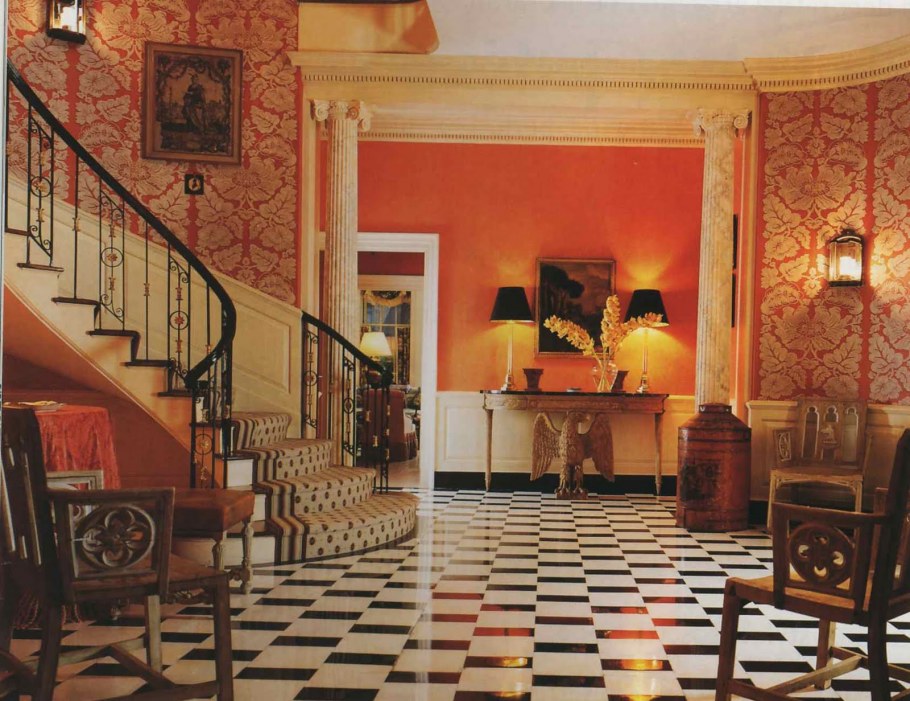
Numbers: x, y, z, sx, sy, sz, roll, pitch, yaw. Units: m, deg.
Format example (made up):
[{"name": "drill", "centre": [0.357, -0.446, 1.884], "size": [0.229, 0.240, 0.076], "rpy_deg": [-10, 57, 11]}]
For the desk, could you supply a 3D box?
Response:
[{"name": "desk", "centre": [1.239, 0.976, 10.189], "size": [1.799, 1.195, 0.611], "rpy_deg": [1, 7, 5]}]

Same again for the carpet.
[{"name": "carpet", "centre": [-1.026, 1.108, 7.469], "size": [0.979, 0.456, 1.290], "rpy_deg": [3, 1, 1]}]

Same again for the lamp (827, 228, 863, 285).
[{"name": "lamp", "centre": [3.418, -0.814, 8.594], "size": [0.330, 0.522, 0.337], "rpy_deg": [0, 3, 8]}]

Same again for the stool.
[{"name": "stool", "centre": [-1.407, 1.109, 5.940], "size": [0.599, 0.653, 0.664], "rpy_deg": [0, 0, 5]}]

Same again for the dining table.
[{"name": "dining table", "centre": [-2.234, 0.563, 5.834], "size": [0.421, 0.457, 0.439], "rpy_deg": [2, 11, -12]}]

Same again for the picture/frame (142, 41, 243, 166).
[{"name": "picture/frame", "centre": [-2.409, -2.222, 8.811], "size": [1.020, 1.278, 0.087], "rpy_deg": [1, 5, -8]}]

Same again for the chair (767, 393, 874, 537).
[{"name": "chair", "centre": [3.009, 0.947, 8.164], "size": [0.753, 1.211, 0.824], "rpy_deg": [1, -6, 20]}]

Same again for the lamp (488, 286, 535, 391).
[{"name": "lamp", "centre": [0.600, -0.143, 10.399], "size": [0.473, 1.057, 0.668], "rpy_deg": [1, 4, 2]}]

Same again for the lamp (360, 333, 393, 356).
[{"name": "lamp", "centre": [-1.137, -0.082, 14.003], "size": [0.356, 0.367, 0.609], "rpy_deg": [3, 4, 23]}]

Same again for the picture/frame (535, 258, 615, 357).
[{"name": "picture/frame", "centre": [1.263, -0.480, 10.573], "size": [0.969, 1.261, 0.092], "rpy_deg": [1, -2, -5]}]
